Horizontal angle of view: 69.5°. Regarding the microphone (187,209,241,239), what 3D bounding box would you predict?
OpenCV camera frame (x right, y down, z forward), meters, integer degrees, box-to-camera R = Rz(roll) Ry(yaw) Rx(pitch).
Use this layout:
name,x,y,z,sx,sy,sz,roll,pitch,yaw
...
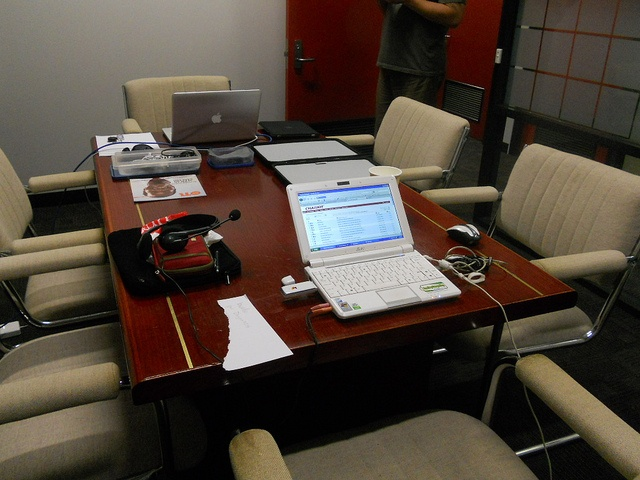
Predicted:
name,x,y,z,sx,sy,sz,roll,pitch,yaw
microphone,-0.315,-0.035,1.402,0.128,0.032,0.083,-27,27,-10

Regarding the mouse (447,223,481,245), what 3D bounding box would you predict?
name,x,y,z,sx,sy,sz,roll,pitch,yaw
mouse,0.487,-0.029,1.563,0.057,0.042,0.104,-5,20,-28

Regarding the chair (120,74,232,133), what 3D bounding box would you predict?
name,x,y,z,sx,sy,sz,roll,pitch,yaw
chair,-0.955,-0.818,2.995,0.575,0.511,0.472,-8,32,-20

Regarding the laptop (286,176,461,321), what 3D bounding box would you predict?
name,x,y,z,sx,sy,sz,roll,pitch,yaw
laptop,0.124,0.002,1.333,0.398,0.252,0.435,-10,36,-25

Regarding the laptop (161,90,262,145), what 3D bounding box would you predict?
name,x,y,z,sx,sy,sz,roll,pitch,yaw
laptop,-0.502,-0.667,2.196,0.409,0.269,0.306,-6,36,-23
